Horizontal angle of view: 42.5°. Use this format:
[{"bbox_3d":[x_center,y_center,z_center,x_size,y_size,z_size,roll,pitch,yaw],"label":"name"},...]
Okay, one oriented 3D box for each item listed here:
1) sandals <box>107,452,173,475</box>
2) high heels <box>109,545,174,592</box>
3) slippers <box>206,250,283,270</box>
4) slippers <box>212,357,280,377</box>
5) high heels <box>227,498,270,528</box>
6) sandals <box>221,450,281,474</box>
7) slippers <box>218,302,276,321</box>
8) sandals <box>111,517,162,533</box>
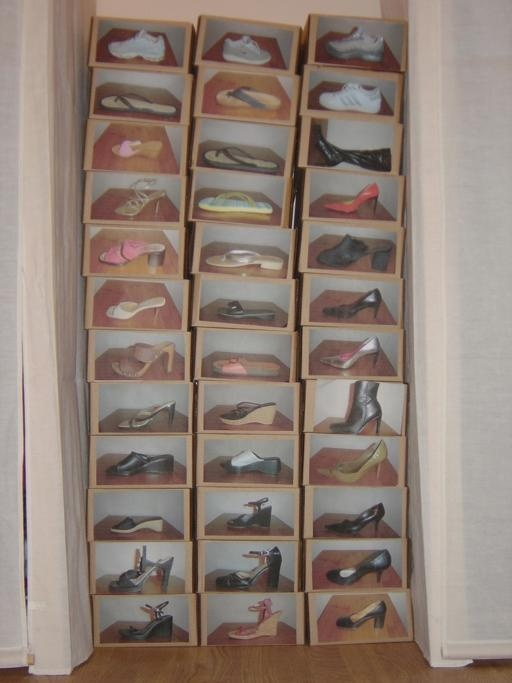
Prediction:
[{"bbox_3d":[-0.384,0.410,2.195,0.219,0.062,0.079,1,6,-5],"label":"sandals"},{"bbox_3d":[-0.375,0.783,2.262,0.265,0.160,0.101,3,-8,-8],"label":"high heels"},{"bbox_3d":[-0.048,-0.274,2.238,0.229,0.042,0.084,3,46,-4],"label":"slippers"},{"bbox_3d":[-0.033,0.092,2.222,0.208,0.045,0.072,2,33,-6],"label":"slippers"},{"bbox_3d":[-0.009,0.591,2.280,0.198,0.122,0.068,0,-3,-1],"label":"high heels"},{"bbox_3d":[-0.015,0.415,2.271,0.213,0.073,0.073,2,1,-2],"label":"sandals"},{"bbox_3d":[-0.039,-0.096,2.230,0.172,0.064,0.049,2,-21,-9],"label":"slippers"},{"bbox_3d":[-0.396,0.610,2.196,0.168,0.056,0.058,3,-5,-5],"label":"sandals"}]
